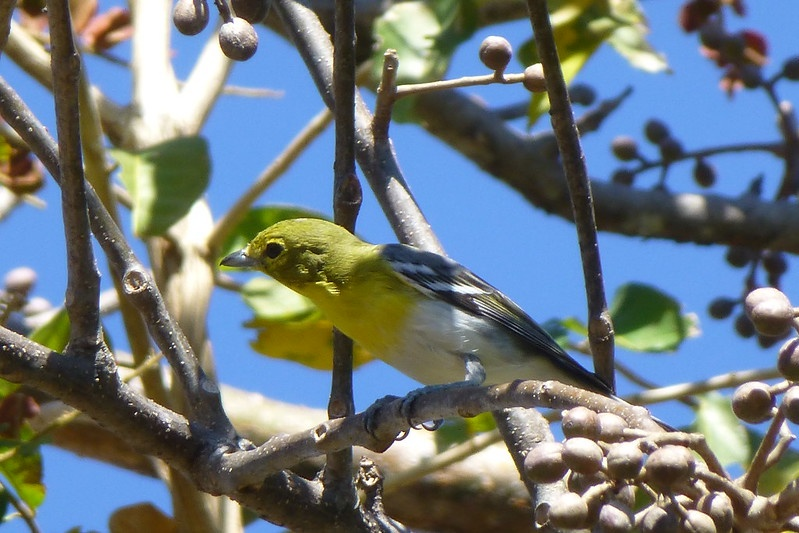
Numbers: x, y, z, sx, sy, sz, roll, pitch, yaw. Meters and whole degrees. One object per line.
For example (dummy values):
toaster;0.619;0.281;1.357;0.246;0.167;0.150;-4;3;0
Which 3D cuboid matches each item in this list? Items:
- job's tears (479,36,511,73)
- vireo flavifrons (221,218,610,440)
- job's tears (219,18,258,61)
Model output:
job's tears;0.406;-0.898;5.209;0.128;0.150;0.215;2;-53;3
vireo flavifrons;0.399;0.196;6.172;2.634;0.976;0.725;6;-9;-2
job's tears;-0.698;-0.954;5.142;0.173;0.152;0.181;-7;-88;-15
